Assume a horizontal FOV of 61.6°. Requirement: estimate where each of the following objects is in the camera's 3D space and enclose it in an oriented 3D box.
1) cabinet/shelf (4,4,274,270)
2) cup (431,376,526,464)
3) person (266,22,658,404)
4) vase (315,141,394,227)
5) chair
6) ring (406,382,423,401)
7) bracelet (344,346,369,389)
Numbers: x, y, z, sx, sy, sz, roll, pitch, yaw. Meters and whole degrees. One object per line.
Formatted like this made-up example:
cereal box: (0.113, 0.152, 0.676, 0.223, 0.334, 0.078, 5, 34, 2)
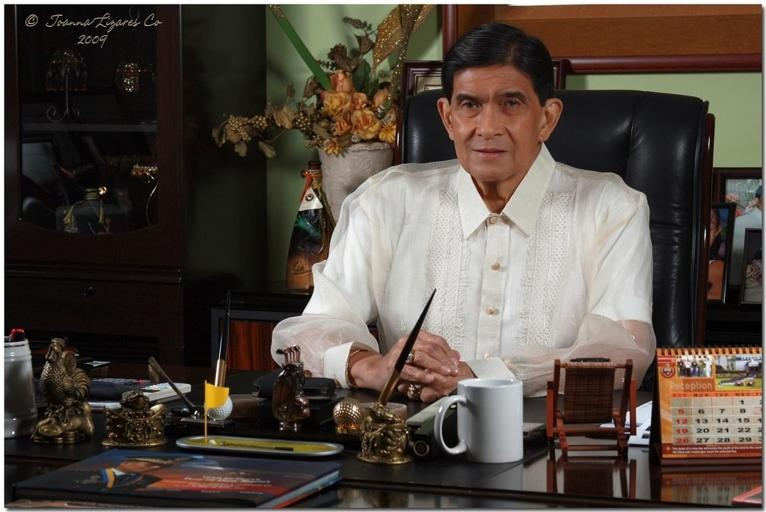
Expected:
cabinet/shelf: (-1.012, -0.467, 2.561, 0.993, 1.136, 0.476, 0, 8, -3)
cup: (0.128, 0.238, 0.927, 0.153, 0.107, 0.088, 1, -2, -33)
person: (0.191, -0.129, 1.568, 0.904, 0.814, 0.515, -1, 8, -8)
vase: (-0.136, -0.270, 2.468, 0.308, 0.293, 0.277, -1, 6, -9)
chair: (0.444, -0.049, 2.145, 0.744, 0.966, 0.830, 0, -2, 11)
ring: (0.062, 0.266, 1.269, 0.024, 0.032, 0.013, 8, 0, 5)
bracelet: (-0.068, 0.253, 1.414, 0.056, 0.071, 0.067, 5, -8, -30)
